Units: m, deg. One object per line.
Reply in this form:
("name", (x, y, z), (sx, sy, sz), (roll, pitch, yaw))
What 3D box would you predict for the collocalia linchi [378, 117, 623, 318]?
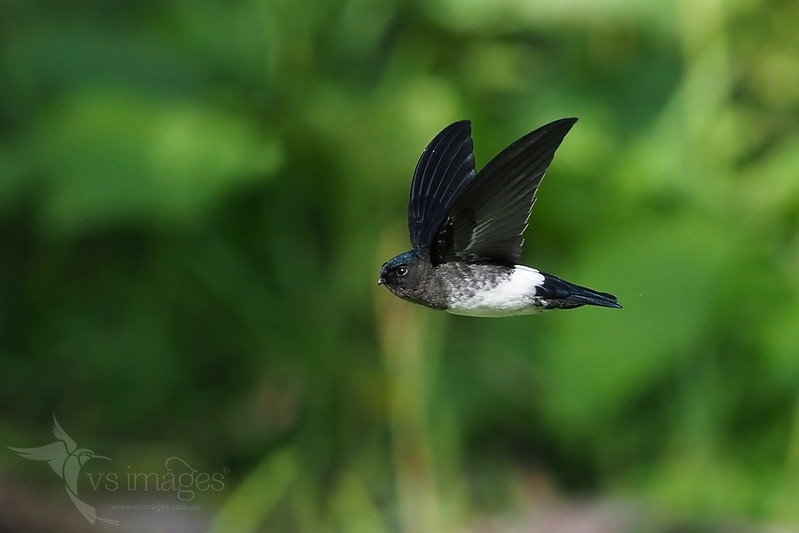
("collocalia linchi", (0.259, -0.085, 2.919), (0.631, 0.455, 0.708), (-10, 1, -5))
